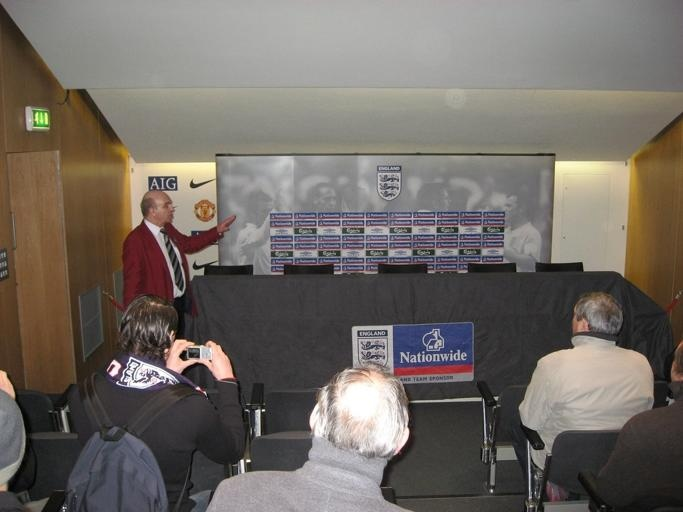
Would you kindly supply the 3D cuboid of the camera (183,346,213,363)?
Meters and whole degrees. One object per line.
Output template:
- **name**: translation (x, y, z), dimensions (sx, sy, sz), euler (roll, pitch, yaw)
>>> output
- **camera**: translation (-0.824, 0.567, 3.483), dimensions (0.175, 0.113, 0.045), euler (1, 2, 22)

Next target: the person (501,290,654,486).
- **person**: translation (1.618, 0.844, 4.040), dimensions (0.935, 1.239, 0.937), euler (-11, 14, -43)
